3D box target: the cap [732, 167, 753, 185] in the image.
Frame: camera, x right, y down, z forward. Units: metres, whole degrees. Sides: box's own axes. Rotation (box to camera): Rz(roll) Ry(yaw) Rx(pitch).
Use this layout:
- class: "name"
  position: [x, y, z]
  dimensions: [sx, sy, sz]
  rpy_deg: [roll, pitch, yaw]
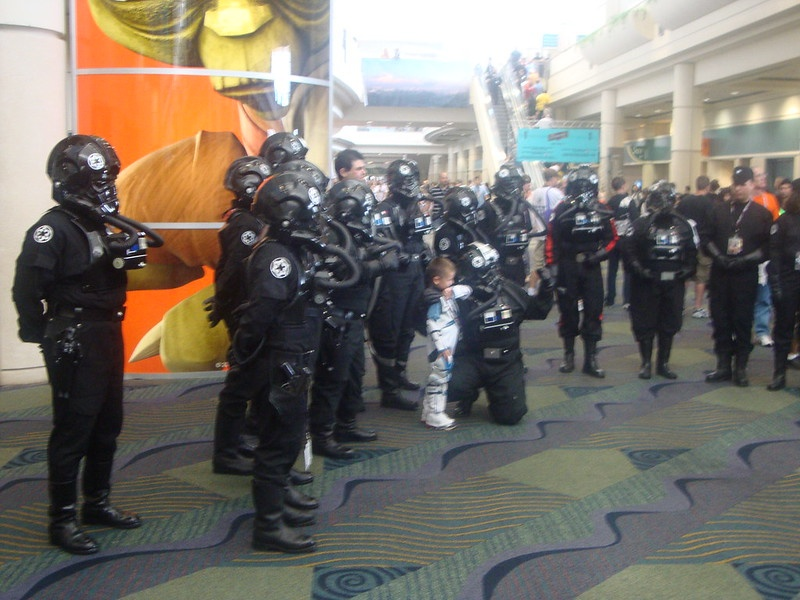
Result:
- class: "cap"
  position: [3.481, -1.266, 6.422]
  dimensions: [0.292, 0.121, 0.192]
  rpy_deg: [-6, 10, -40]

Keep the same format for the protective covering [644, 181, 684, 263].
- class: "protective covering"
  position: [2.759, -0.777, 6.591]
  dimensions: [0.417, 0.684, 0.679]
  rpy_deg: [-5, 3, 35]

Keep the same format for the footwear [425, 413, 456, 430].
- class: "footwear"
  position: [0.329, 1.022, 5.367]
  dimensions: [0.349, 0.168, 0.102]
  rpy_deg: [-2, 0, 1]

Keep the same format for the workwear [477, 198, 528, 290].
- class: "workwear"
  position: [1.158, -0.625, 6.647]
  dimensions: [0.431, 0.794, 0.748]
  rpy_deg: [-1, 10, 39]

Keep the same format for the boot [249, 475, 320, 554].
- class: "boot"
  position: [-0.659, 1.243, 3.754]
  dimensions: [0.469, 0.295, 0.480]
  rpy_deg: [5, 0, 4]

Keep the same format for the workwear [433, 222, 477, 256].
- class: "workwear"
  position: [0.503, -0.560, 5.904]
  dimensions: [0.450, 0.311, 0.110]
  rpy_deg: [15, 2, 25]

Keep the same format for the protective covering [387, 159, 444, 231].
- class: "protective covering"
  position: [0.099, -0.894, 5.684]
  dimensions: [0.399, 0.671, 0.582]
  rpy_deg: [-5, 26, 4]

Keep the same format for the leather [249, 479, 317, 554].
- class: "leather"
  position: [-0.667, 1.241, 3.772]
  dimensions: [0.497, 0.318, 0.513]
  rpy_deg: [5, -3, -2]

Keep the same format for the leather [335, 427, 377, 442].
- class: "leather"
  position: [-0.372, 1.098, 5.200]
  dimensions: [0.403, 0.105, 0.109]
  rpy_deg: [0, -1, -4]

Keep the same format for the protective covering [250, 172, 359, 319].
- class: "protective covering"
  position: [-0.541, -0.377, 3.582]
  dimensions: [0.569, 0.686, 0.277]
  rpy_deg: [-3, 15, -11]
